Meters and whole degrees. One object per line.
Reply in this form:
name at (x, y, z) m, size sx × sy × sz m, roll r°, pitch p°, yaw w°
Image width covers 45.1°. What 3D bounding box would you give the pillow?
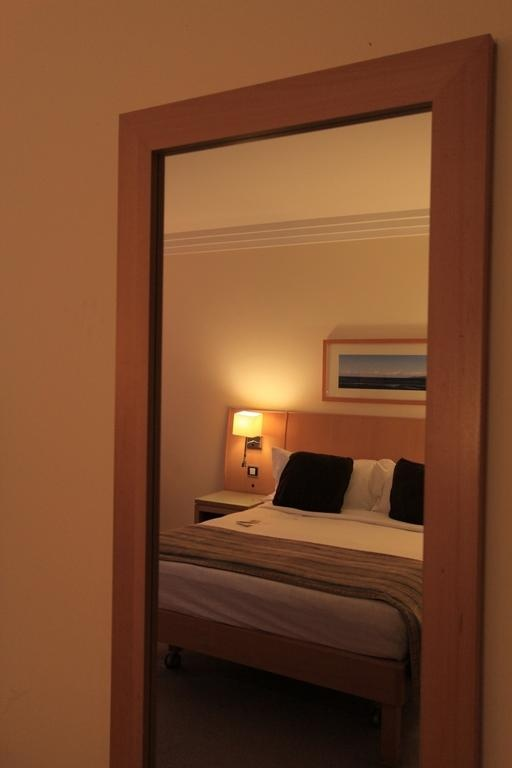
pillow at (0.165, 0.162, 0.968) m, size 0.193 × 0.103 × 0.025 m, roll 5°, pitch 0°, yaw 36°
